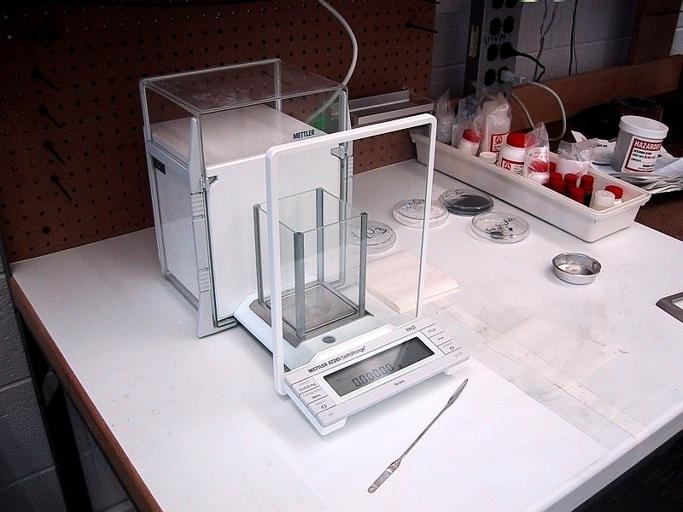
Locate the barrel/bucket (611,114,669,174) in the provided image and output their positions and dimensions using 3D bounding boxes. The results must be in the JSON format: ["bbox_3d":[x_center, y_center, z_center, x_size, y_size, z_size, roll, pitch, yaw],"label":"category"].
[{"bbox_3d":[0.882,-0.330,1.510,0.127,0.142,0.131,1,31,-1],"label":"barrel/bucket"}]
